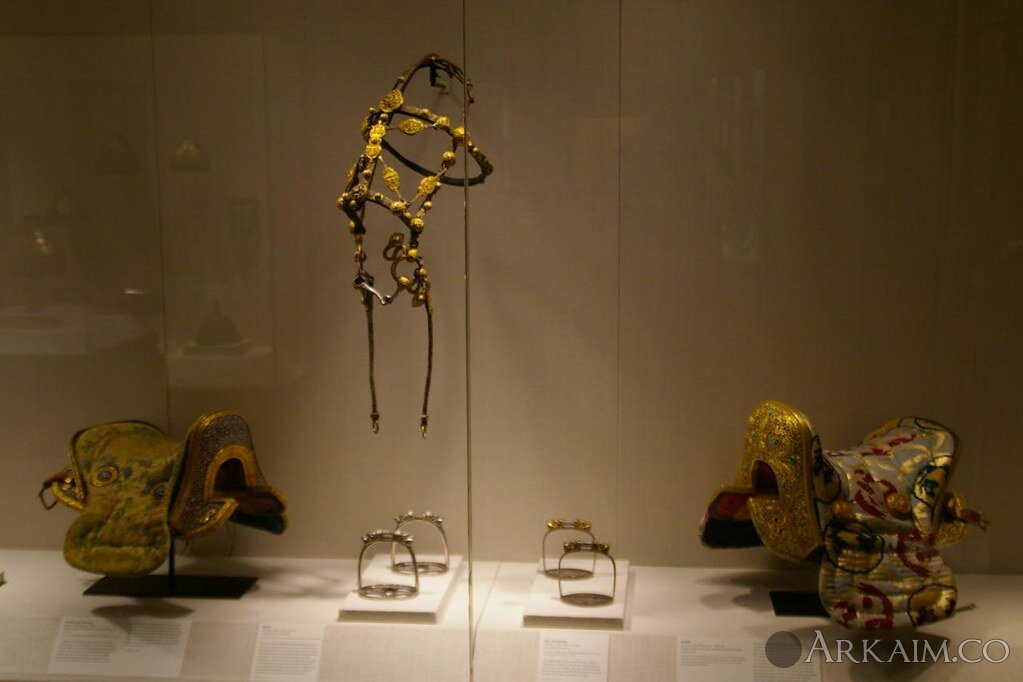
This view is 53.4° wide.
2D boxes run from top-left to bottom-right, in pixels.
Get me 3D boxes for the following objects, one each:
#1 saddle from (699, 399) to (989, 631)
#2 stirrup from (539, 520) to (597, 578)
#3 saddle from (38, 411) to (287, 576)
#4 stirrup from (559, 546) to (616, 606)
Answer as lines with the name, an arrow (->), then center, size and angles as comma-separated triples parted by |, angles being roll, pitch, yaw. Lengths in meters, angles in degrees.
saddle -> 0.965, 0.432, 2.903 | 0.714, 0.335, 0.510 | 10, 16, 14
stirrup -> 0.187, 0.619, 2.893 | 0.139, 0.067, 0.155 | 4, -51, -20
saddle -> -1.048, 0.409, 3.056 | 0.710, 0.419, 0.650 | 6, 6, -2
stirrup -> 0.221, 0.673, 2.900 | 0.139, 0.144, 0.071 | 0, -10, 7
